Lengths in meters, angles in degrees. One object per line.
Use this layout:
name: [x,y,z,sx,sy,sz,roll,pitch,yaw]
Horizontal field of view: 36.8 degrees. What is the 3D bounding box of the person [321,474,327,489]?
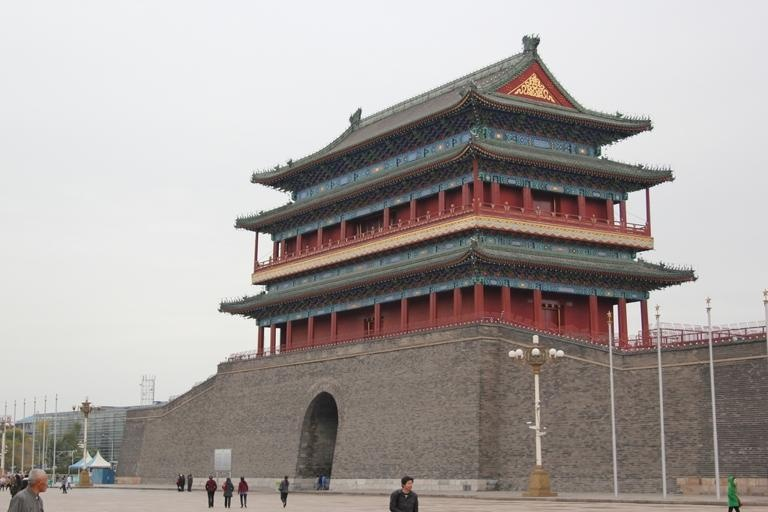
person: [-3.957,14.916,76.425,0.468,0.727,0.423,3,-20,-10]
